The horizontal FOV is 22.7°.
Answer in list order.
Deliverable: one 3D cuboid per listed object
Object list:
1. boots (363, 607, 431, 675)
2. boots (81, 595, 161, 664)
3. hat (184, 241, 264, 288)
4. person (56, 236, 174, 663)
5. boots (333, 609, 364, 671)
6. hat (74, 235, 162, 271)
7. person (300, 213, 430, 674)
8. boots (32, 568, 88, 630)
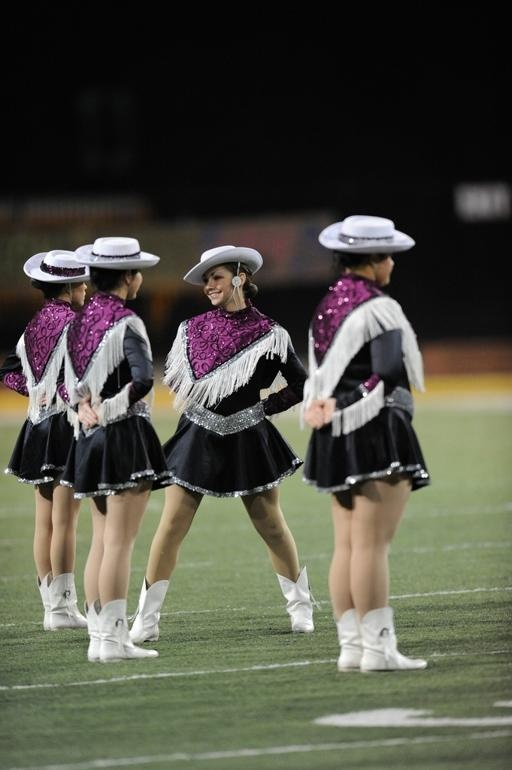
[{"bbox_3d":[0.520,0.976,4.880,0.294,0.247,0.118,8,-13,-28],"label":"boots"},{"bbox_3d":[-0.563,0.982,5.145,0.306,0.252,0.200,0,4,-34],"label":"boots"},{"bbox_3d":[-0.164,-0.539,5.684,0.245,0.065,0.250,-21,-7,41],"label":"hat"},{"bbox_3d":[-0.556,0.254,5.123,0.354,1.708,0.558,0,1,-41],"label":"person"},{"bbox_3d":[0.341,0.992,4.912,0.103,0.195,0.215,-6,3,-1],"label":"boots"},{"bbox_3d":[-0.546,-0.519,5.061,0.236,0.066,0.201,-3,14,-3],"label":"hat"},{"bbox_3d":[0.415,0.220,4.875,0.485,1.228,0.339,1,0,11],"label":"person"},{"bbox_3d":[-0.859,0.987,5.697,0.163,0.261,0.305,-2,-2,30],"label":"boots"}]
